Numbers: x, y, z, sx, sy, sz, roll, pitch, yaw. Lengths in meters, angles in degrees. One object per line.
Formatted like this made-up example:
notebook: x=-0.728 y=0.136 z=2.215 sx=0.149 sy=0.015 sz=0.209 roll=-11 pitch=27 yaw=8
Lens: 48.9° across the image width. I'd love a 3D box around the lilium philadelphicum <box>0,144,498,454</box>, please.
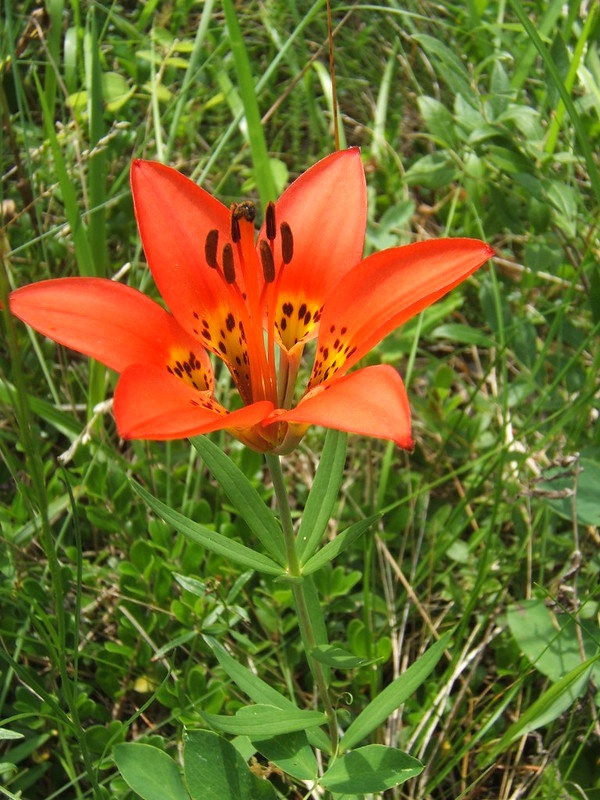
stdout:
lilium philadelphicum: x=-0.065 y=-0.042 z=1.046 sx=0.526 sy=0.352 sz=0.603 roll=19 pitch=56 yaw=12
